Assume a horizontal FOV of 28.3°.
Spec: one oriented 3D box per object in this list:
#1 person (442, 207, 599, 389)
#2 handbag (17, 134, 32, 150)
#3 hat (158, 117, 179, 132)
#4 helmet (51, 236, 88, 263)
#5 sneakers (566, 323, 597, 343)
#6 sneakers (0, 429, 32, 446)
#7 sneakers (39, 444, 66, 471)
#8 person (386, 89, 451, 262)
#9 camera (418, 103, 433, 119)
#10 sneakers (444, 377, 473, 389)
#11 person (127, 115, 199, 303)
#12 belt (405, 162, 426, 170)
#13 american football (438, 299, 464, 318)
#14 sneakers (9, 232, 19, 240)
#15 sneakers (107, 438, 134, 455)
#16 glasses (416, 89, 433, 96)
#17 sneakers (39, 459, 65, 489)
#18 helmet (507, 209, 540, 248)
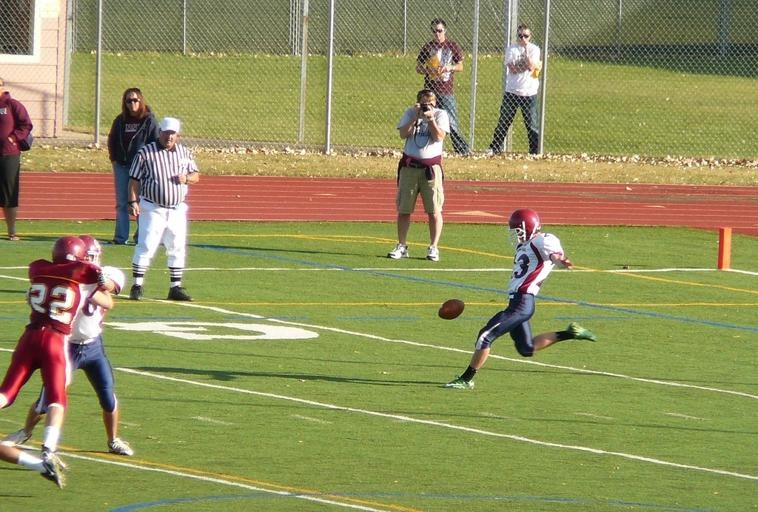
[{"bbox_3d":[1.770,0.534,18.810,1.625,2.179,0.600,-1,8,-20],"label":"person"},{"bbox_3d":[-5.768,-1.842,24.323,0.194,0.302,0.231,9,11,9],"label":"handbag"},{"bbox_3d":[-3.000,-1.855,21.485,0.243,0.197,0.380,2,7,0],"label":"hat"},{"bbox_3d":[-3.350,-0.074,16.165,0.352,0.248,0.241,-8,9,-17],"label":"helmet"},{"bbox_3d":[2.536,1.015,18.957,0.374,0.146,0.228,26,19,-32],"label":"sneakers"},{"bbox_3d":[-3.852,1.931,15.980,0.132,0.146,0.389,41,25,12],"label":"sneakers"},{"bbox_3d":[-3.391,2.066,15.525,0.375,0.111,0.209,26,-19,10],"label":"sneakers"},{"bbox_3d":[0.650,-1.306,24.599,0.890,2.803,1.082,2,8,0],"label":"person"},{"bbox_3d":[0.760,-2.311,23.943,0.236,0.203,0.220,-1,9,3],"label":"camera"},{"bbox_3d":[1.020,1.574,18.714,0.403,0.155,0.129,1,3,-3],"label":"sneakers"},{"bbox_3d":[-3.087,-0.656,21.454,0.928,2.566,0.515,1,8,-9],"label":"person"},{"bbox_3d":[0.598,-1.466,24.512,0.293,0.095,0.077,2,8,0],"label":"belt"},{"bbox_3d":[0.951,0.670,19.095,0.316,0.191,0.184,-25,9,-26],"label":"american football"},{"bbox_3d":[-6.113,-0.330,25.043,0.151,0.138,0.354,0,0,-26],"label":"sneakers"},{"bbox_3d":[-2.806,2.066,16.432,0.312,0.140,0.134,7,32,12],"label":"sneakers"},{"bbox_3d":[0.740,-2.619,24.183,0.172,0.105,0.160,1,-3,12],"label":"glasses"},{"bbox_3d":[-3.366,2.196,15.523,0.205,0.151,0.442,-4,20,-29],"label":"sneakers"},{"bbox_3d":[1.858,-0.373,19.106,0.499,0.454,0.414,-4,6,8],"label":"helmet"}]
